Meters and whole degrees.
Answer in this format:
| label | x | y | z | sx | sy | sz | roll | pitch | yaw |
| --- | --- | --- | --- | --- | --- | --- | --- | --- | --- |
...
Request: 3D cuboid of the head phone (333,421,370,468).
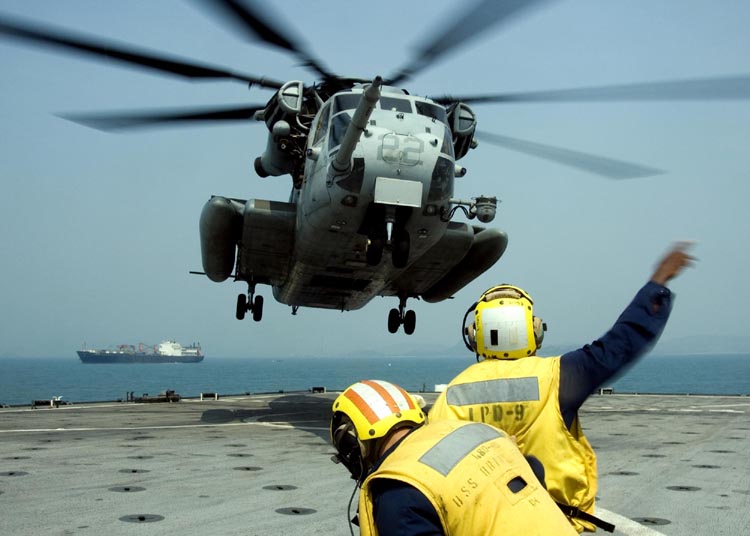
| label | x | y | z | sx | sy | sz | roll | pitch | yaw |
| --- | --- | --- | --- | --- | --- | --- | --- | --- | --- |
| head phone | -0.186 | 1.549 | 6.119 | 0.264 | 0.327 | 0.341 | -31 | 24 | -7 |
